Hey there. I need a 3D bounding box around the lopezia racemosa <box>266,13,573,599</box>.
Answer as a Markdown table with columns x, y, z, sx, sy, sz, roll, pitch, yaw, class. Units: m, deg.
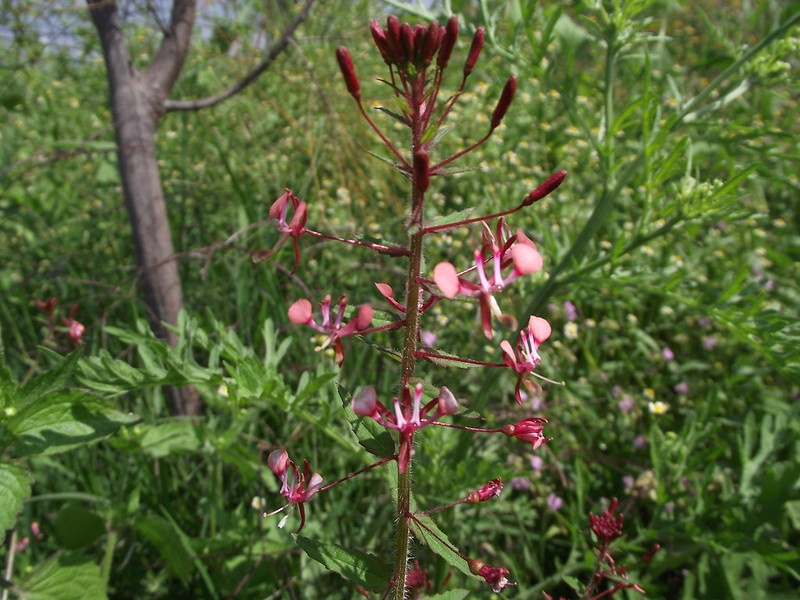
| x | y | z | sx | sy | sz | roll | pitch | yaw | class |
| --- | --- | --- | --- | --- | --- | --- | --- | --- | --- |
| 0.024 | 0.080 | 2.762 | 1.011 | 2.257 | 0.987 | 4 | 6 | -8 | lopezia racemosa |
